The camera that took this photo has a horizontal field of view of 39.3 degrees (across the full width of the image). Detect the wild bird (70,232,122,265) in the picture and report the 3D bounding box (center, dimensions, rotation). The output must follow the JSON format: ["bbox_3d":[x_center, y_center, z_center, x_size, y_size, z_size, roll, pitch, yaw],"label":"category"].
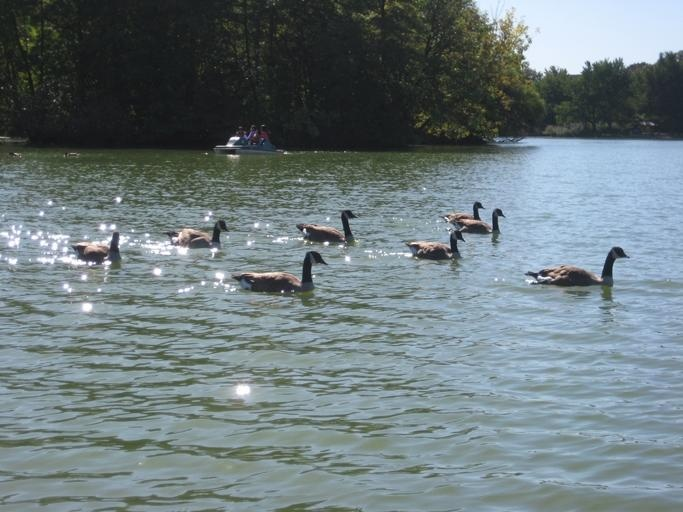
[{"bbox_3d":[-7.826,-0.216,30.131,1.162,0.994,0.367,19,-39,13],"label":"wild bird"}]
